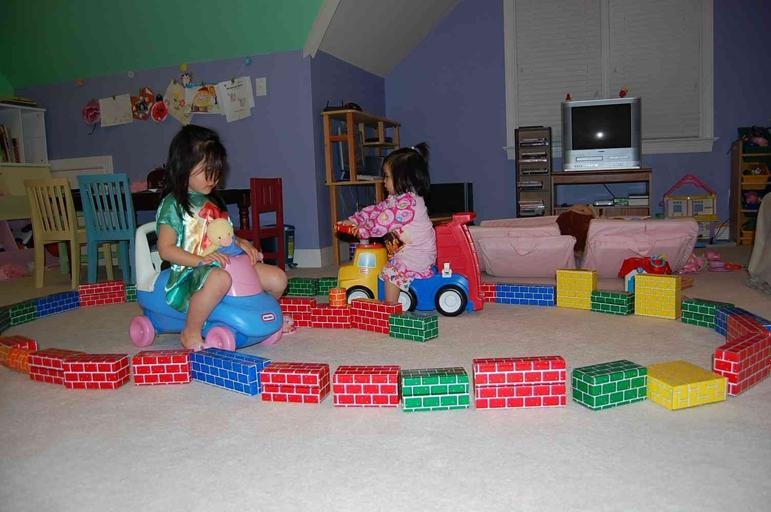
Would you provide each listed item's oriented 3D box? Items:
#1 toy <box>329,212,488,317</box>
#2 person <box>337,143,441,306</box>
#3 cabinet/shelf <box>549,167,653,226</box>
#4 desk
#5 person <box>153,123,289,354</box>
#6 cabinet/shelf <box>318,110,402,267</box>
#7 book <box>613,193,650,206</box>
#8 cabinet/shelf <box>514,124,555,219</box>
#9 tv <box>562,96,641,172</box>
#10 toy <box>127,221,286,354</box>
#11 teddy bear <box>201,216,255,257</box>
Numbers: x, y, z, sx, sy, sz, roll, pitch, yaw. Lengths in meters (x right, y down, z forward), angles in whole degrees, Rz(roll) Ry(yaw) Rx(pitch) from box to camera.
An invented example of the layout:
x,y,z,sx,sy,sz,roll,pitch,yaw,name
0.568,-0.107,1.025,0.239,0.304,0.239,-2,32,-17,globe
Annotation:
x,y,z,sx,sy,sz,roll,pitch,yaw,name
0.152,0.058,3.638,0.945,0.650,0.358,1,-2,11,toy
0.018,-0.128,3.583,0.564,1.121,0.499,-11,12,-35,person
2.286,-0.635,5.866,0.751,0.719,0.315,3,17,15,cabinet/shelf
-1.635,-0.178,3.827,0.826,0.543,0.462,-2,4,5,desk
-0.877,-0.121,3.038,0.620,1.064,0.634,15,15,38,person
-0.267,-0.577,4.897,0.589,1.442,1.513,-1,9,6,cabinet/shelf
2.704,-0.614,6.194,0.344,0.130,0.174,0,11,21,book
1.673,-0.957,6.354,0.401,0.994,0.414,-1,10,13,cabinet/shelf
2.443,-1.359,6.291,0.854,0.773,0.469,-1,3,11,tv
-0.965,0.169,3.105,0.762,0.684,0.537,5,6,21,toy
-0.816,-0.131,3.016,0.175,0.278,0.274,6,13,41,teddy bear
